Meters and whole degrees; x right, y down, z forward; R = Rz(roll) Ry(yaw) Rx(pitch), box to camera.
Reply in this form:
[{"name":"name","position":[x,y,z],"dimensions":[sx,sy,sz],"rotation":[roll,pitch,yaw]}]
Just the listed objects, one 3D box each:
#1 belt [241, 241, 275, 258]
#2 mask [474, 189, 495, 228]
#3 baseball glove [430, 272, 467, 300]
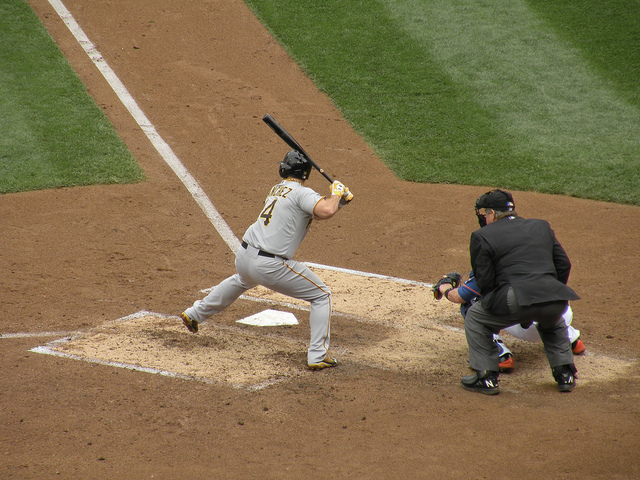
[{"name":"belt","position":[-0.710,0.094,12.389],"dimensions":[0.252,0.059,0.241],"rotation":[14,5,-38]},{"name":"mask","position":[2.003,-0.382,12.406],"dimensions":[0.224,0.498,0.659],"rotation":[3,18,8]},{"name":"baseball glove","position":[1.574,0.552,12.606],"dimensions":[0.342,0.388,0.544],"rotation":[2,18,7]}]
